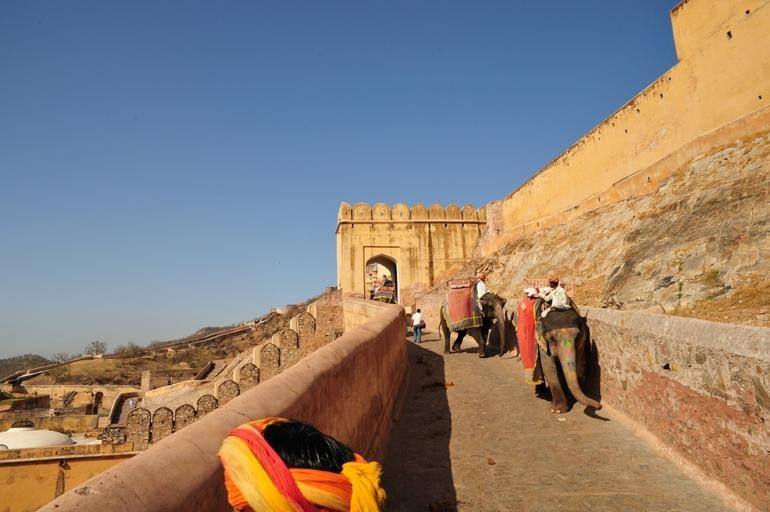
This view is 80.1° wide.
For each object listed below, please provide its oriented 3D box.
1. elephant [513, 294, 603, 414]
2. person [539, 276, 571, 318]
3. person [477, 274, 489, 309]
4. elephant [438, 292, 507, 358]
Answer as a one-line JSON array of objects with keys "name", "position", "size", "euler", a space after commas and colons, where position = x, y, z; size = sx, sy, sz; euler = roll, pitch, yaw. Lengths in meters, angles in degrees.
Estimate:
[{"name": "elephant", "position": [2.557, 1.433, 6.857], "size": [0.802, 1.319, 2.269], "euler": [-3, 0, 9]}, {"name": "person", "position": [2.597, 0.542, 6.993], "size": [0.337, 0.489, 0.711], "euler": [-13, -40, 13]}, {"name": "person", "position": [2.401, 0.877, 11.371], "size": [0.313, 0.856, 0.458], "euler": [-1, -34, 4]}, {"name": "elephant", "position": [1.848, 1.541, 10.670], "size": [2.344, 1.368, 0.974], "euler": [8, -8, -25]}]
